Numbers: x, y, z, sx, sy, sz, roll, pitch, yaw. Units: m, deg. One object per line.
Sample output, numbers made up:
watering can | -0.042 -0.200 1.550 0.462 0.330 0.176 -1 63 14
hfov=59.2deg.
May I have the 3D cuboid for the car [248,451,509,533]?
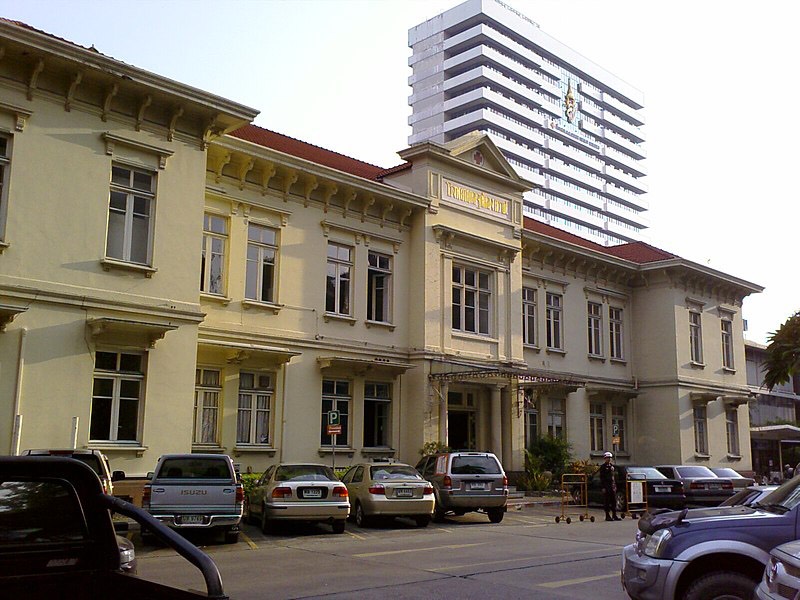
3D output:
car | 0.781 5.183 19.695 4.500 2.051 1.924 11 -20 -37
